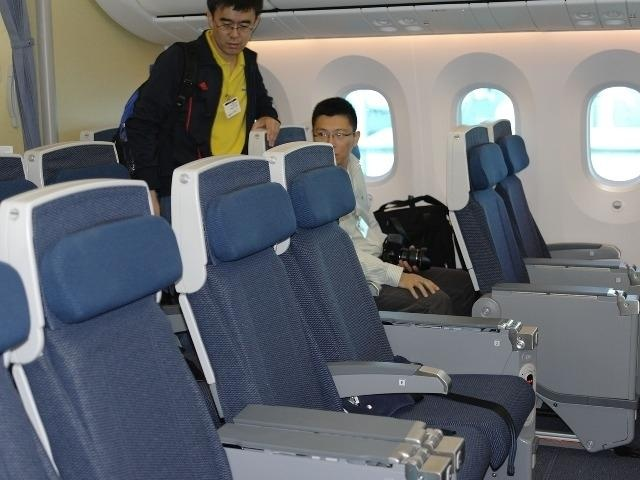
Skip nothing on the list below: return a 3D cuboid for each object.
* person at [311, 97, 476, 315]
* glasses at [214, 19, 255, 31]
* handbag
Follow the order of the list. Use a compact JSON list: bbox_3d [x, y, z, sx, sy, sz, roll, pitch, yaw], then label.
[{"bbox_3d":[0.356,-0.204,3.196,1.110,1.548,0.950,0,7,13],"label":"person"},{"bbox_3d":[-0.370,-0.950,2.309,0.167,0.048,0.062,-8,10,-20],"label":"glasses"},{"bbox_3d":[0.733,-0.017,4.095,0.579,0.606,0.575,-6,26,-4],"label":"handbag"}]
